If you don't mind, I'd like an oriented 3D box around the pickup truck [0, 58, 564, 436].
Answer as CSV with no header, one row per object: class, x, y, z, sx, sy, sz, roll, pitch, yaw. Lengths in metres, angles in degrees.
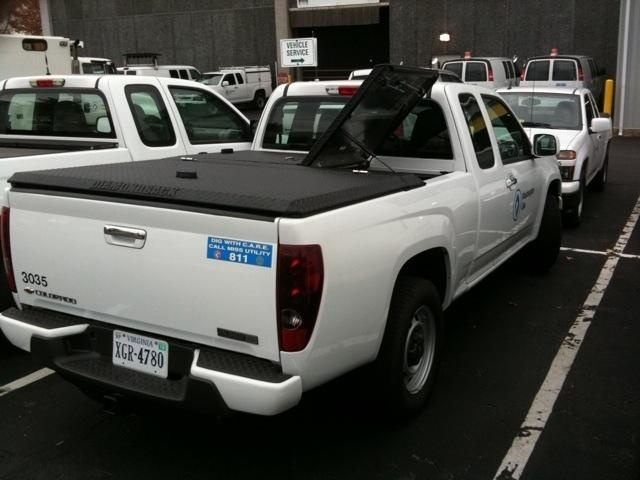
pickup truck,0.382,-0.089,4.049,2.271,1.715,4.478,8,17,38
